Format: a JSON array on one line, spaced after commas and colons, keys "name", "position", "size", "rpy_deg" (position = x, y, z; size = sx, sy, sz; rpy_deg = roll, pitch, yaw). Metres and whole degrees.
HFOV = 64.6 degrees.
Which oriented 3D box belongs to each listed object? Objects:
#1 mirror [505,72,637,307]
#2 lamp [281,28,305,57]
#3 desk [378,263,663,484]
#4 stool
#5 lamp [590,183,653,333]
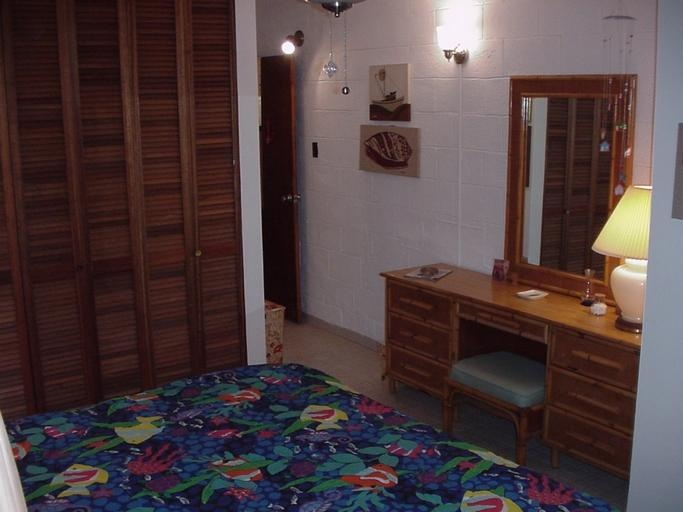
[{"name": "mirror", "position": [1.330, -0.404, 3.229], "size": [0.078, 1.299, 0.773], "rpy_deg": [-15, 20, -33]}, {"name": "lamp", "position": [-0.426, -1.933, 4.864], "size": [0.204, 0.205, 0.220], "rpy_deg": [31, 34, 3]}, {"name": "desk", "position": [1.044, 0.707, 3.314], "size": [0.583, 0.803, 1.820], "rpy_deg": [1, 7, -36]}, {"name": "stool", "position": [1.012, 0.894, 3.188], "size": [0.543, 0.440, 0.689], "rpy_deg": [-4, 6, -29]}, {"name": "lamp", "position": [1.436, -0.007, 2.792], "size": [0.260, 0.685, 0.408], "rpy_deg": [7, 18, 24]}]
